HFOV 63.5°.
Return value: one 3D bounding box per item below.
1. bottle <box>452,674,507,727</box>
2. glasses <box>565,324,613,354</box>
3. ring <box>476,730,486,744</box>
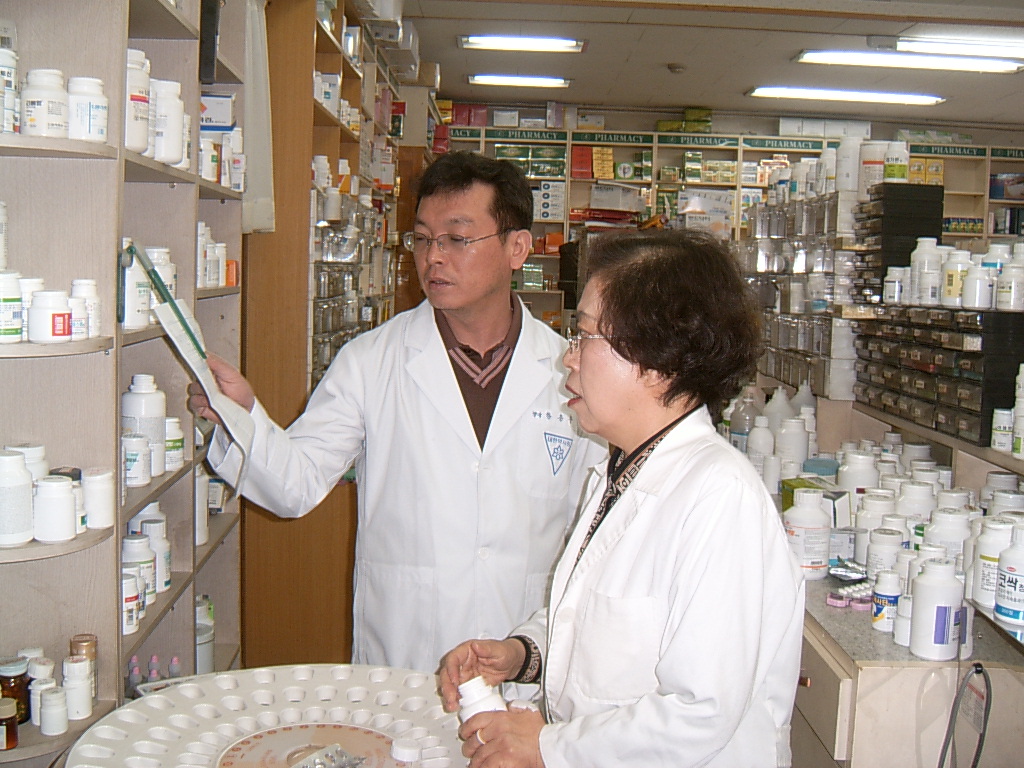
[{"bbox_3d":[-0.058,0.539,1.412,0.079,0.072,0.076,-48,7,-26],"label":"bottle"},{"bbox_3d":[0.140,-0.081,1.471,0.072,0.026,0.076,10,0,-7],"label":"glasses"},{"bbox_3d":[-0.052,0.582,1.359,0.005,0.015,0.015,-22,10,-19],"label":"ring"}]
